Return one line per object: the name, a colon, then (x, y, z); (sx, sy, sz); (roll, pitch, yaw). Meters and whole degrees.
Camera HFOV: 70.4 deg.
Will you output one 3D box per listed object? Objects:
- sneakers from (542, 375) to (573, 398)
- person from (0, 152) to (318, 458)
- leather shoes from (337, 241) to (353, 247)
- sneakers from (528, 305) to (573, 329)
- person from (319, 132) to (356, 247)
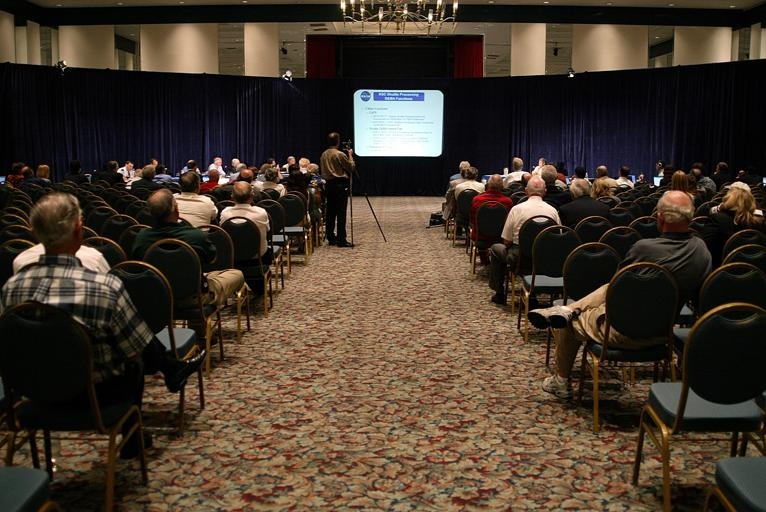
sneakers: (1.410, 1.059, 4.402); (0.118, 0.118, 0.234); (-1, 10, -14)
person: (-1.621, 0.311, 3.104); (0.513, 1.327, 0.789); (9, 17, 34)
leather shoes: (-0.715, -0.207, 10.185); (0.319, 0.124, 0.107); (-3, 2, -7)
sneakers: (1.205, 0.465, 3.938); (0.319, 0.131, 0.162); (0, 52, -17)
person: (-0.802, -1.217, 10.054); (0.665, 2.002, 0.652); (5, 8, 40)
